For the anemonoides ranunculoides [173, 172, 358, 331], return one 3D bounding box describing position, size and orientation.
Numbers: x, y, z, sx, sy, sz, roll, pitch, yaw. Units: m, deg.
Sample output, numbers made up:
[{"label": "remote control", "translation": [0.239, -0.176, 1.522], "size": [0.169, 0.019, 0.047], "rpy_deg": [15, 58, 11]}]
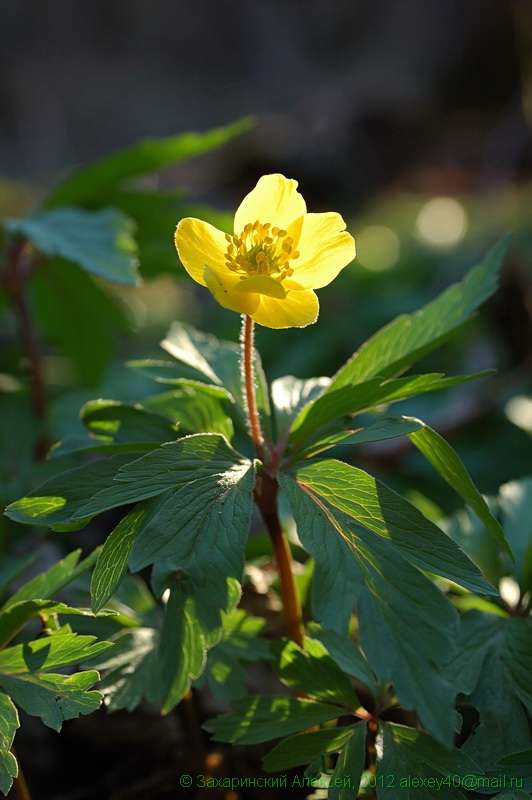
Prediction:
[{"label": "anemonoides ranunculoides", "translation": [0.004, -0.207, 1.053], "size": [0.272, 0.218, 0.116], "rpy_deg": [-6, -7, -14]}]
